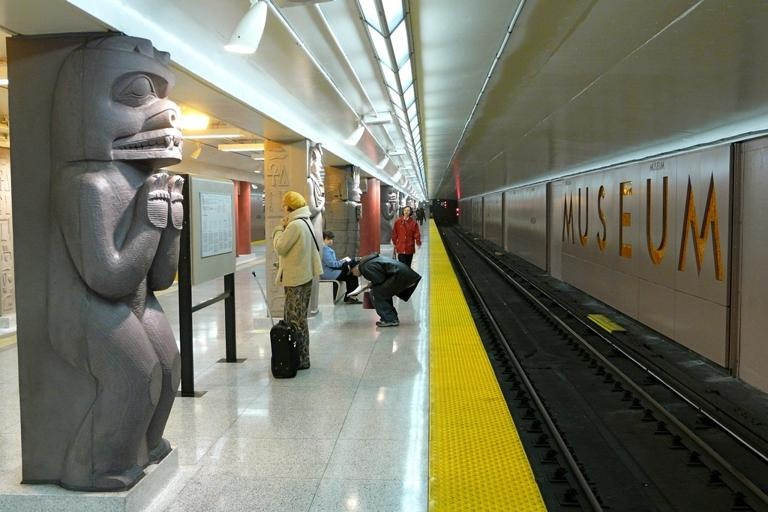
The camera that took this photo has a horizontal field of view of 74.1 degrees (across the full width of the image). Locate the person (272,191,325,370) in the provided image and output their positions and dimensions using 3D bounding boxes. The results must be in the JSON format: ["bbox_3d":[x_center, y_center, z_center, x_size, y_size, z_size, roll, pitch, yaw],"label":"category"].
[{"bbox_3d":[-1.321,0.359,7.443,0.519,2.604,0.685,3,4,29],"label":"person"}]

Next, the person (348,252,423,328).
[{"bbox_3d":[0.080,0.623,10.085,1.375,1.400,0.766,-2,-4,4],"label":"person"}]

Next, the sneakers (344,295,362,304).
[{"bbox_3d":[-0.757,1.064,12.456,0.431,0.194,0.162,0,0,0],"label":"sneakers"}]

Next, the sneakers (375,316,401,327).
[{"bbox_3d":[0.045,1.278,9.894,0.427,0.202,0.165,3,2,1],"label":"sneakers"}]

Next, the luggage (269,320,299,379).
[{"bbox_3d":[-1.404,1.342,7.124,0.342,0.750,0.139,0,4,-14],"label":"luggage"}]

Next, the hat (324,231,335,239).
[{"bbox_3d":[-1.285,-0.492,11.838,0.214,0.218,0.178,3,19,-5],"label":"hat"}]
